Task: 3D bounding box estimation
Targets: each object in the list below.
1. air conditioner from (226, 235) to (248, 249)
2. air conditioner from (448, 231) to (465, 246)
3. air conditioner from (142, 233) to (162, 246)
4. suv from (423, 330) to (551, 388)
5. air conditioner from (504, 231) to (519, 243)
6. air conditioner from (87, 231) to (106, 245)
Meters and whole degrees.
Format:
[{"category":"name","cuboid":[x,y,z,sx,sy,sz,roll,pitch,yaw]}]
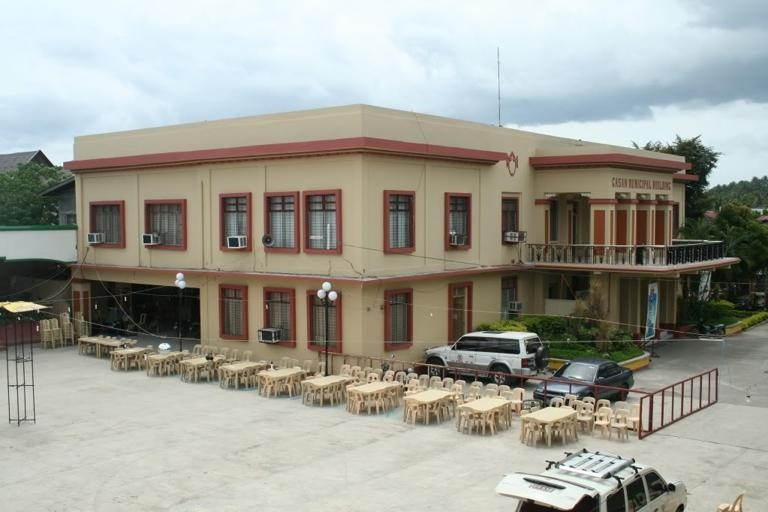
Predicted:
[{"category":"air conditioner","cuboid":[-7.161,-0.661,33.488,1.168,0.767,0.634,-1,-2,28]},{"category":"air conditioner","cuboid":[3.550,-0.889,33.847,0.825,0.517,0.798,-1,0,-33]},{"category":"air conditioner","cuboid":[-12.395,-0.855,36.599,0.731,0.573,0.715,0,-1,24]},{"category":"suv","cuboid":[4.637,4.444,31.242,5.064,2.020,2.476,4,3,28]},{"category":"air conditioner","cuboid":[6.856,-1.022,36.844,0.611,0.544,0.614,-2,-4,37]},{"category":"air conditioner","cuboid":[-16.415,-0.983,39.094,1.182,0.774,0.625,0,-3,19]}]
